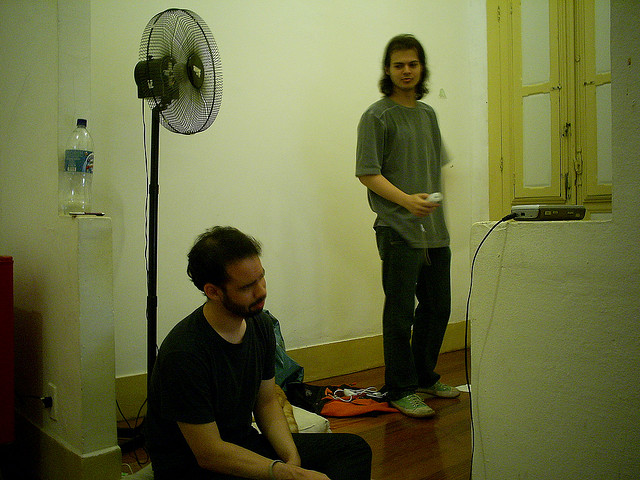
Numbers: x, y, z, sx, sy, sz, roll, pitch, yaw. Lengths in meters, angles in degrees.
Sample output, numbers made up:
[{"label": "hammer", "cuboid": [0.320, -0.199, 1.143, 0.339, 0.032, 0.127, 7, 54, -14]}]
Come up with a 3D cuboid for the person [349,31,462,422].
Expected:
[{"label": "person", "cuboid": [0.506, -0.082, 3.085, 0.539, 1.960, 0.538, 8, 14, 39]}]

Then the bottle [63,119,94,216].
[{"label": "bottle", "cuboid": [-1.015, -0.310, 2.440, 0.125, 0.384, 0.167, -4, 12, -20]}]

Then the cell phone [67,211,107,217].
[{"label": "cell phone", "cuboid": [-0.960, -0.108, 2.390, 0.124, 0.017, 0.132, -8, 14, -36]}]

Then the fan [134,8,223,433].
[{"label": "fan", "cuboid": [-0.573, -0.184, 2.442, 0.350, 1.507, 0.249, -2, 11, -9]}]

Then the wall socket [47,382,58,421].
[{"label": "wall socket", "cuboid": [-1.136, 0.684, 2.482, 0.029, 0.150, 0.093, -9, 14, -37]}]

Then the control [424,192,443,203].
[{"label": "control", "cuboid": [0.540, -0.201, 2.783, 0.078, 0.054, 0.149, 2, 11, 10]}]
